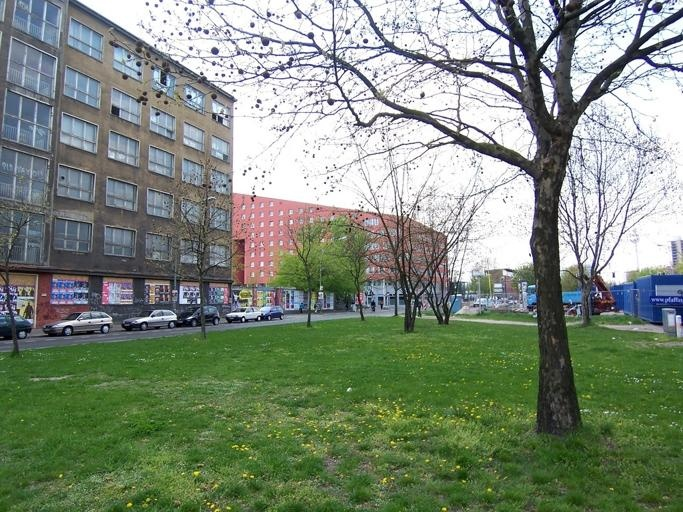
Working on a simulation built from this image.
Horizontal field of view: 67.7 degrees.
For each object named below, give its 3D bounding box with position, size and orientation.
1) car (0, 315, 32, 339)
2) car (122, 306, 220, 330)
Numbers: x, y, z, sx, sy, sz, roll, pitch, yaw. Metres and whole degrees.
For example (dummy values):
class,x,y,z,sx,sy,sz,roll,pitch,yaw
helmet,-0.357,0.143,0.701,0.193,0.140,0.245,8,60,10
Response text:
class,x,y,z,sx,sy,sz,roll,pitch,yaw
car,-18.852,4.059,29.350,1.265,1.493,2.158,0,2,-20
car,-13.290,5.063,40.338,1.614,1.742,8.769,1,2,27
